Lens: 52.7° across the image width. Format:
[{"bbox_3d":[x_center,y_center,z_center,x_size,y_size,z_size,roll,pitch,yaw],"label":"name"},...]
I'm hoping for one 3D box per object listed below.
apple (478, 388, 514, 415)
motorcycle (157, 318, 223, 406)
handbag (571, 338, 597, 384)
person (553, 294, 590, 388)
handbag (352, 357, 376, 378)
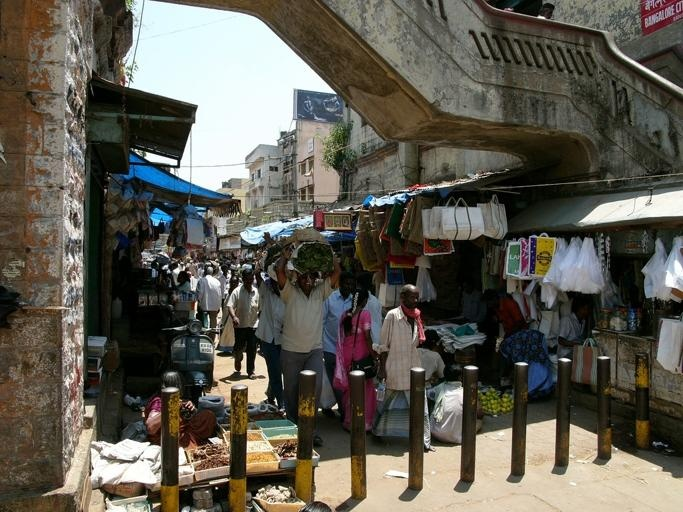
[{"bbox_3d":[2.163,2.034,9.750,0.355,0.174,0.429,2,-4,1],"label":"apple"},{"bbox_3d":[-2.102,1.307,9.263,0.862,1.129,1.687,4,3,-26],"label":"motorcycle"},{"bbox_3d":[3.409,1.486,9.628,0.337,0.691,0.297,6,9,27],"label":"handbag"},{"bbox_3d":[3.544,1.092,10.277,0.581,1.060,0.541,9,-1,-44],"label":"person"},{"bbox_3d":[0.265,1.335,8.271,0.255,0.224,0.127,-7,-12,-16],"label":"handbag"}]
